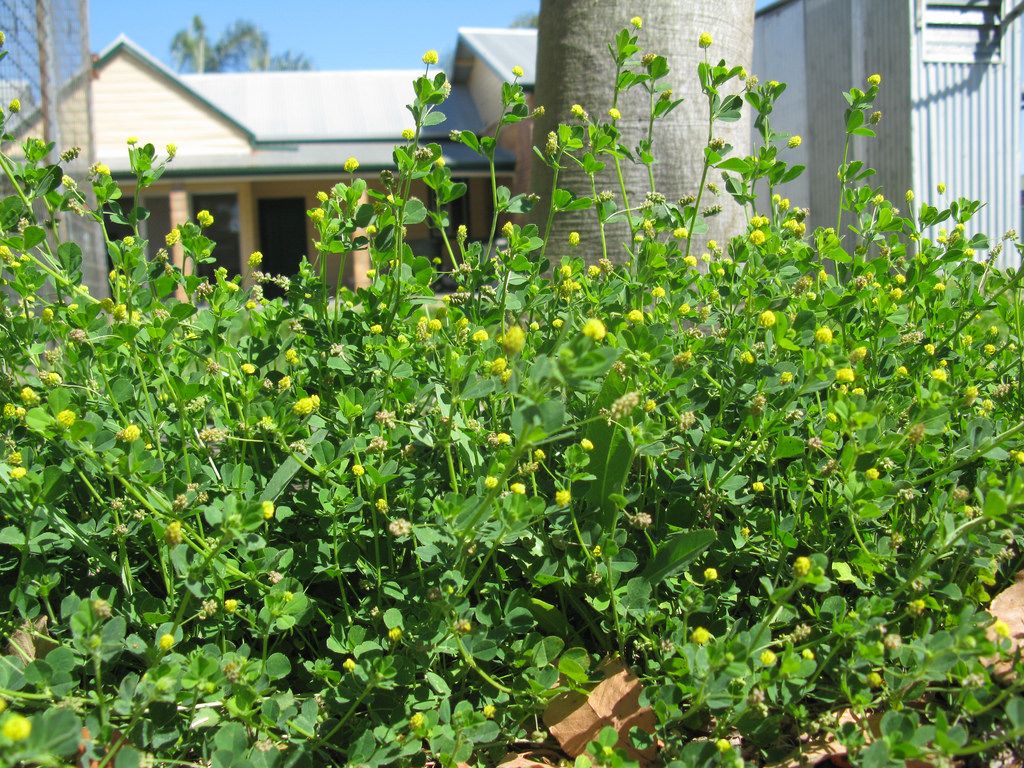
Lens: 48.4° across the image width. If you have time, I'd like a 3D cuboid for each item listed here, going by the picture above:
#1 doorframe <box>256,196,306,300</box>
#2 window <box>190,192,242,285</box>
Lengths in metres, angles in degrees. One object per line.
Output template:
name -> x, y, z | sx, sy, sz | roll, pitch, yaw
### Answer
doorframe -> -3.677, -1.997, 18.569 | 0.836, 2.074, 0.110 | 2, 18, 4
window -> -4.631, -2.314, 17.780 | 0.745, 1.609, 0.094 | -2, -33, -13
